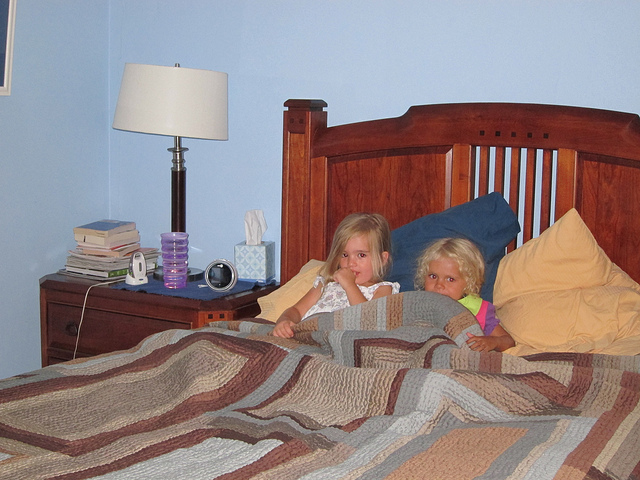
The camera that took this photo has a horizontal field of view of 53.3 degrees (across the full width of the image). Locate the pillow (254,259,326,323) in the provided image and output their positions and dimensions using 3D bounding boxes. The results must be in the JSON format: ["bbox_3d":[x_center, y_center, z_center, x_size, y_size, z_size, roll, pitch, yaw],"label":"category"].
[{"bbox_3d":[-0.105,0.188,2.326,0.189,0.055,0.212,6,21,36],"label":"pillow"}]

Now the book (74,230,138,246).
[{"bbox_3d":[-0.910,-0.007,2.649,0.110,0.027,0.112,7,12,34],"label":"book"}]

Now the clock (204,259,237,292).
[{"bbox_3d":[-0.389,0.146,2.483,0.099,0.108,0.061,12,-1,6],"label":"clock"}]

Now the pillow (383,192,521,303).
[{"bbox_3d":[0.489,0.030,2.353,0.422,0.381,0.118,-19,-28,19],"label":"pillow"}]

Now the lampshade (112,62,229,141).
[{"bbox_3d":[-0.584,-0.552,2.603,0.493,0.293,0.513,7,8,12],"label":"lampshade"}]

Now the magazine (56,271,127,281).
[{"bbox_3d":[-0.965,0.152,2.647,0.294,0.033,0.096,0,-1,17],"label":"magazine"}]
